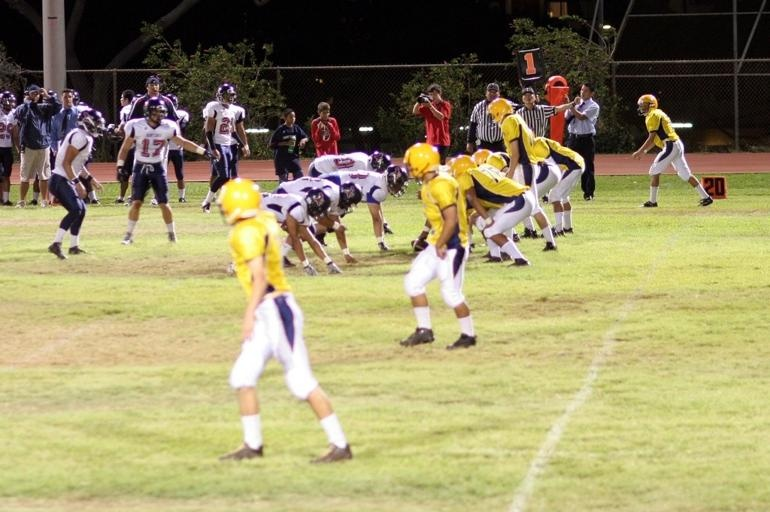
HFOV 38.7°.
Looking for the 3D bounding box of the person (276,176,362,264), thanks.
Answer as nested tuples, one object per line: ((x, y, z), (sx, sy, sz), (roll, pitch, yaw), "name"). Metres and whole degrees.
((-0.801, -0.575, 15.690), (0.694, 1.030, 1.952), (16, 9, -29), "person")

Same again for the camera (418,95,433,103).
((0.868, -3.504, 24.218), (0.161, 0.219, 0.398), (-27, 7, 7), "camera")

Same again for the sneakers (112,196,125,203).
((-6.367, -1.347, 26.095), (0.258, 0.200, 0.622), (-1, 3, -29), "sneakers")

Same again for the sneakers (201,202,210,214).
((-3.908, -1.057, 23.781), (0.275, 0.175, 0.289), (-7, 40, -9), "sneakers")

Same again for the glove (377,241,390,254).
((-0.081, -0.147, 18.293), (0.201, 0.089, 0.270), (30, -6, -27), "glove")

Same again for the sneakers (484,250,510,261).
((1.766, 0.008, 17.156), (0.441, 0.136, 0.124), (-5, 17, -2), "sneakers")

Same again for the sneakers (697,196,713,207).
((6.895, -1.177, 23.668), (0.430, 0.159, 0.143), (-19, 36, -20), "sneakers")

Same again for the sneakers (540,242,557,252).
((2.621, -0.159, 17.690), (0.169, 0.133, 0.182), (0, -5, -19), "sneakers")

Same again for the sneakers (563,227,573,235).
((3.257, -0.455, 19.633), (0.136, 0.089, 0.099), (-15, 15, -23), "sneakers")

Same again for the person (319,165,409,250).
((-0.243, -0.852, 17.605), (2.157, 1.104, 1.096), (2, 16, 45), "person")

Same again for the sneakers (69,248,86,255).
((-5.098, -0.089, 17.934), (0.335, 0.109, 0.092), (-3, 24, -19), "sneakers")

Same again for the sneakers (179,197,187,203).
((-4.799, -1.321, 25.691), (0.149, 0.109, 0.136), (2, 5, 16), "sneakers")

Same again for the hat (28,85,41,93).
((-8.127, -3.898, 25.330), (0.240, 0.142, 0.281), (9, 7, -31), "hat")

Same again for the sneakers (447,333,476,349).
((0.803, 0.977, 12.413), (0.414, 0.134, 0.127), (-2, 5, -4), "sneakers")

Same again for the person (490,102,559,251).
((2.036, -1.364, 17.758), (1.011, 2.325, 0.843), (-7, 14, 7), "person")

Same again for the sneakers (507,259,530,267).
((1.982, 0.108, 16.492), (0.296, 0.069, 0.137), (-5, 21, -20), "sneakers")

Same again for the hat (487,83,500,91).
((2.128, -3.355, 21.755), (0.279, 0.108, 0.385), (7, 11, 0), "hat")

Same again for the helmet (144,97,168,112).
((-3.962, -2.617, 18.818), (0.287, 0.264, 0.318), (7, -1, 22), "helmet")

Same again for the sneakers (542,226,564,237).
((2.816, -0.418, 18.526), (0.418, 0.144, 0.139), (9, 21, 20), "sneakers")

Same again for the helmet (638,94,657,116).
((5.607, -3.278, 23.665), (0.690, 0.445, 0.498), (-1, 4, -1), "helmet")

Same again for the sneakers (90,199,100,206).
((-6.894, -1.279, 25.971), (0.170, 0.111, 0.394), (-22, 21, -28), "sneakers")

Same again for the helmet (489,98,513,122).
((1.755, -2.333, 17.360), (0.507, 0.329, 0.338), (2, 16, 26), "helmet")

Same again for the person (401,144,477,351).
((0.597, -0.106, 12.426), (0.860, 2.284, 0.711), (0, 17, 3), "person")

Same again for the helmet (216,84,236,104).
((-3.230, -3.402, 22.916), (0.445, 0.349, 0.495), (-4, 9, -28), "helmet")

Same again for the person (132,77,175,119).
((-4.734, -3.196, 22.409), (1.305, 0.879, 0.564), (-5, 8, -11), "person")
